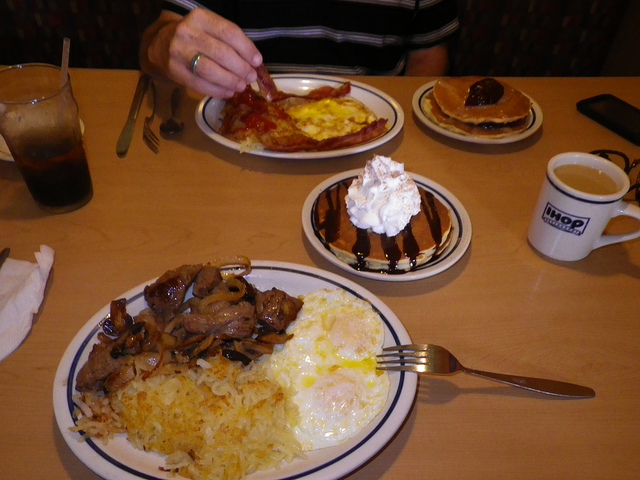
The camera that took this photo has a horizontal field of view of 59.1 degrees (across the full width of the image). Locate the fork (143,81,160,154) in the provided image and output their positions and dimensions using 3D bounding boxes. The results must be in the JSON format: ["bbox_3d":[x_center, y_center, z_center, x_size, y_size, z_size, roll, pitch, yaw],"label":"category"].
[{"bbox_3d":[-0.809,-0.511,2.702,0.062,0.068,0.596,-9,65,2],"label":"fork"}]

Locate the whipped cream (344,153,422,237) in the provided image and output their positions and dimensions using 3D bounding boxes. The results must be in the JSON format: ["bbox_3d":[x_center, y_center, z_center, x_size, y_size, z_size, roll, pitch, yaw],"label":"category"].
[{"bbox_3d":[0.217,-0.193,2.334,0.319,0.311,0.344,-6,27,-14],"label":"whipped cream"}]
